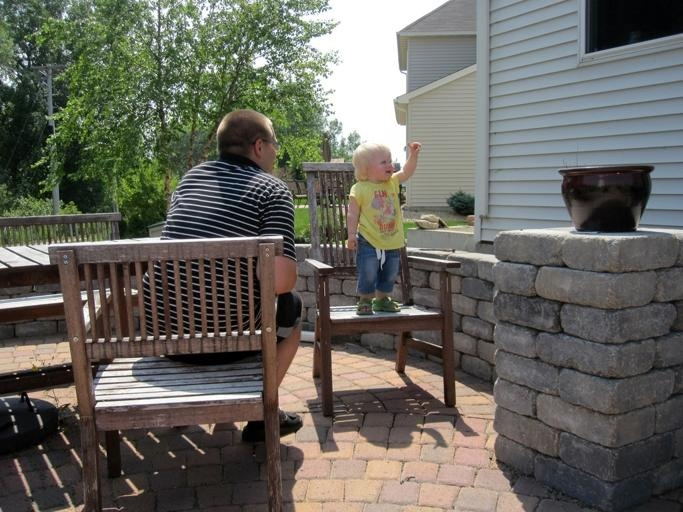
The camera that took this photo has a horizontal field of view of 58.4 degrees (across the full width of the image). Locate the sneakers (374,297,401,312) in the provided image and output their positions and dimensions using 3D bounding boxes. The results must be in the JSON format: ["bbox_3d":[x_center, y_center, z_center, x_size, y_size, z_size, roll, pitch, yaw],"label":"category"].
[{"bbox_3d":[0.337,0.367,4.523,0.218,0.103,0.091,0,2,4],"label":"sneakers"}]

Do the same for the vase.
[{"bbox_3d":[1.485,-0.312,3.470,0.423,0.312,0.416,-1,0,-15],"label":"vase"}]

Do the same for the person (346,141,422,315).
[{"bbox_3d":[0.305,-0.189,4.495,0.594,1.247,0.477,-5,14,-15],"label":"person"}]

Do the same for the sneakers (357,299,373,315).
[{"bbox_3d":[0.170,0.374,4.373,0.083,0.083,0.209,0,-8,0],"label":"sneakers"}]
